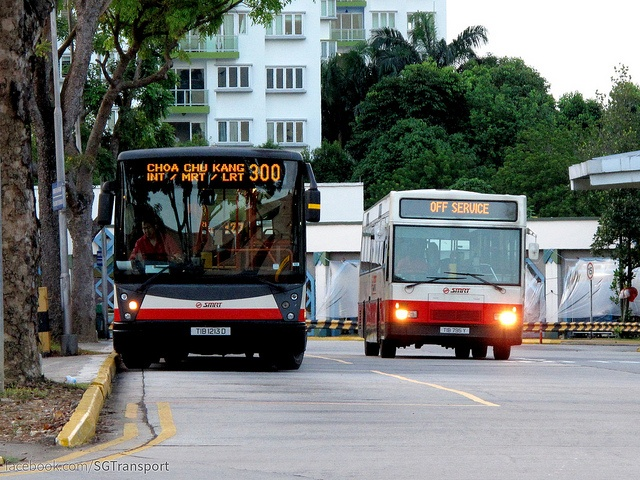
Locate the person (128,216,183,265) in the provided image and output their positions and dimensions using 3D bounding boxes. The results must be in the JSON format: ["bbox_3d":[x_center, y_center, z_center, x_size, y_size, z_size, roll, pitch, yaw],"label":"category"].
[{"bbox_3d":[-3.017,0.063,20.797,1.112,1.045,0.711,-6,-4,3],"label":"person"}]

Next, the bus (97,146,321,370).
[{"bbox_3d":[-2.003,0.079,19.367,2.492,2.871,4.814,0,-7,-4],"label":"bus"}]

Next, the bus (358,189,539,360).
[{"bbox_3d":[2.845,0.680,28.039,2.265,2.837,5.393,1,-3,-3],"label":"bus"}]
